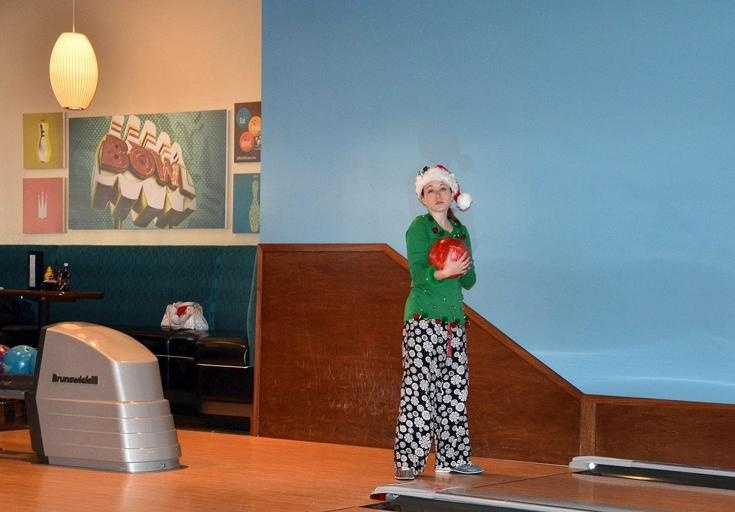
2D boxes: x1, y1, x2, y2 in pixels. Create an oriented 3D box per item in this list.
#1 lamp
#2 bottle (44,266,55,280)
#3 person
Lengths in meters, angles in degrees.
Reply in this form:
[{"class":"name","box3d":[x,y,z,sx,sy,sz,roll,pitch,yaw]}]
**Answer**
[{"class":"lamp","box3d":[-2.810,-1.797,6.026,0.402,0.498,0.243,2,-2,14]},{"class":"bottle","box3d":[-3.115,0.161,6.161,0.103,0.172,0.113,4,-3,-17]},{"class":"person","box3d":[0.419,0.354,3.637,0.469,1.771,0.553,1,-2,19]}]
